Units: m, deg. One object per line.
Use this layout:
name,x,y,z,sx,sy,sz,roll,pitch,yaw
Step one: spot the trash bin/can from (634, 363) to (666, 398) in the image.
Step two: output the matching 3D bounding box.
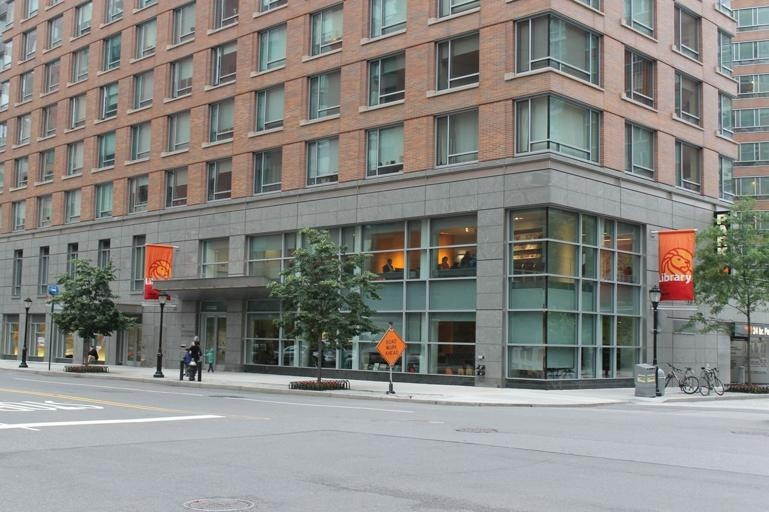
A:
trash bin/can,12.558,5.918,42.037,1.364,1.579,0.824,0,-12,5

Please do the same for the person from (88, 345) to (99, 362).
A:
person,-18.474,6.256,56.163,0.479,0.989,1.649,4,-11,-15

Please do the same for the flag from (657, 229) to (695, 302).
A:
flag,15.663,0.370,47.650,2.001,3.879,1.066,-7,-14,34
